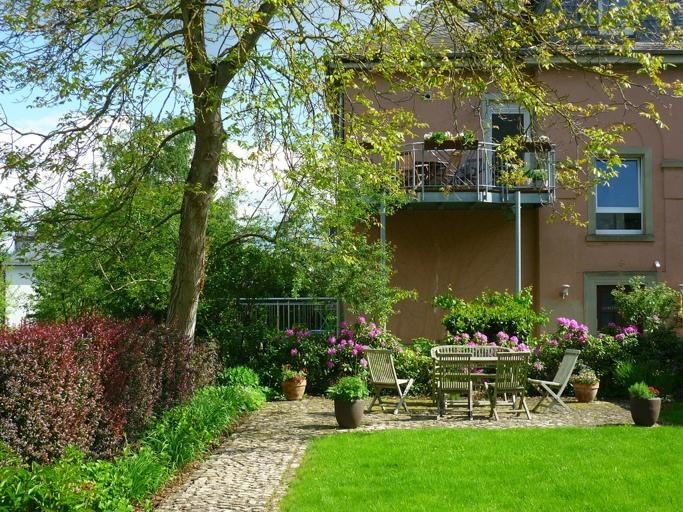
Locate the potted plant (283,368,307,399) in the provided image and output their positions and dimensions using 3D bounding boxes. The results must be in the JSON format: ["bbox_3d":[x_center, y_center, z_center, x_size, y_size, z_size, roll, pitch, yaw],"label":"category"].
[{"bbox_3d":[-0.980,2.696,17.153,0.518,0.662,0.533,-1,1,10],"label":"potted plant"}]

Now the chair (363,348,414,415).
[{"bbox_3d":[0.901,2.389,15.540,0.797,1.272,0.963,-2,-3,21],"label":"chair"}]

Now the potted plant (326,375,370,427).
[{"bbox_3d":[0.146,2.478,13.887,0.743,0.846,0.688,1,-10,-7],"label":"potted plant"}]

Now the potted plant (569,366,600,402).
[{"bbox_3d":[4.924,2.624,16.653,0.526,0.677,0.566,-3,5,-22],"label":"potted plant"}]

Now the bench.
[{"bbox_3d":[2.847,2.442,16.836,1.921,1.363,0.766,-13,-3,44],"label":"bench"}]

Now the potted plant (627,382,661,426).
[{"bbox_3d":[5.205,2.530,14.070,0.557,0.926,0.638,-1,-4,18],"label":"potted plant"}]
